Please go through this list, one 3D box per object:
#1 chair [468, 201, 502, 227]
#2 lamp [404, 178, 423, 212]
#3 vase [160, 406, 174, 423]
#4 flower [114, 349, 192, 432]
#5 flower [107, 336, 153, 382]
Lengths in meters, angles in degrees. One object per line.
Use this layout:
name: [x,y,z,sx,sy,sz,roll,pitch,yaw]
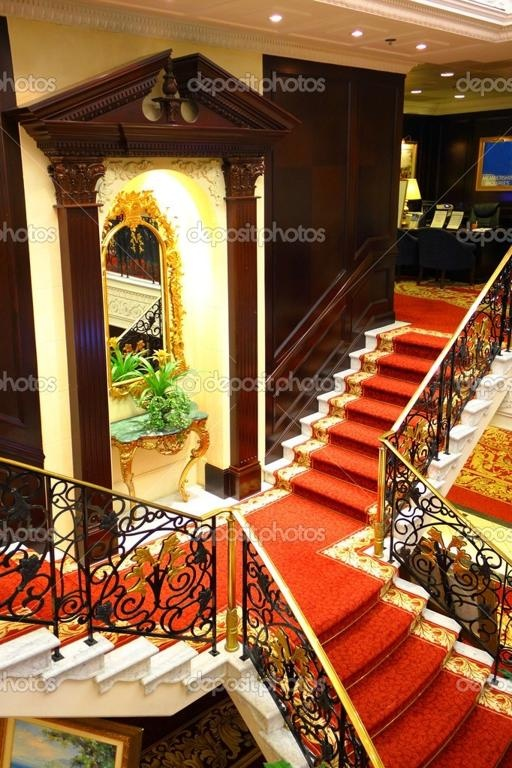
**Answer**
chair: [3.992,-2.941,10.797,0.484,0.338,1.181,3,19,18]
lamp: [2.957,-3.503,11.596,0.312,0.625,1.619,2,19,14]
vase: [-0.643,0.221,4.481,0.098,0.127,0.047,1,-1,-9]
flower: [-0.748,0.028,4.630,0.379,0.593,0.666,9,14,39]
flower: [-0.931,-0.170,4.518,0.309,0.123,0.309,10,23,20]
